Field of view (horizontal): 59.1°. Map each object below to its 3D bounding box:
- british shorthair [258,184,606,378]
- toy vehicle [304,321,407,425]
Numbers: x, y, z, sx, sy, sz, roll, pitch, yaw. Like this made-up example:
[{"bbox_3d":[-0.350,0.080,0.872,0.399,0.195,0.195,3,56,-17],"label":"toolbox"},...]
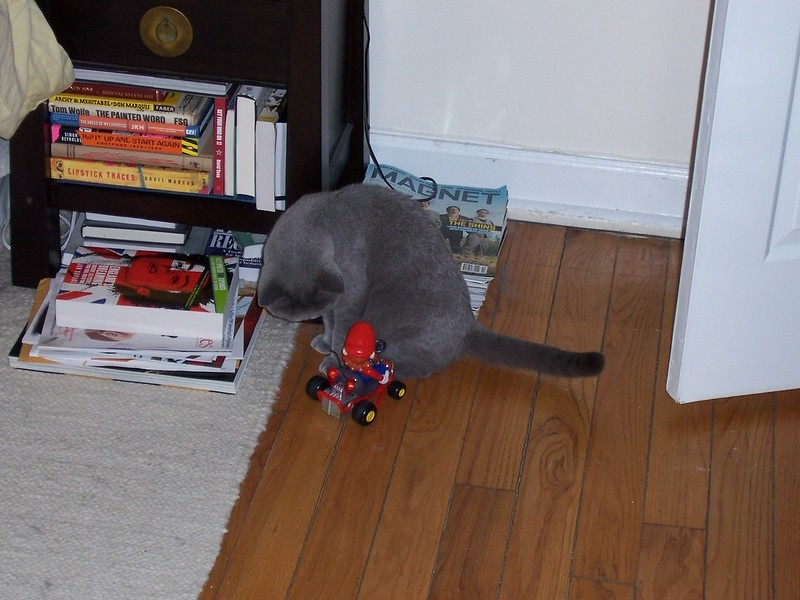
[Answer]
[{"bbox_3d":[0.052,-0.019,1.441,0.648,0.355,0.346,9,27,-11],"label":"british shorthair"},{"bbox_3d":[-0.072,0.117,1.368,0.146,0.192,0.180,25,40,21],"label":"toy vehicle"}]
